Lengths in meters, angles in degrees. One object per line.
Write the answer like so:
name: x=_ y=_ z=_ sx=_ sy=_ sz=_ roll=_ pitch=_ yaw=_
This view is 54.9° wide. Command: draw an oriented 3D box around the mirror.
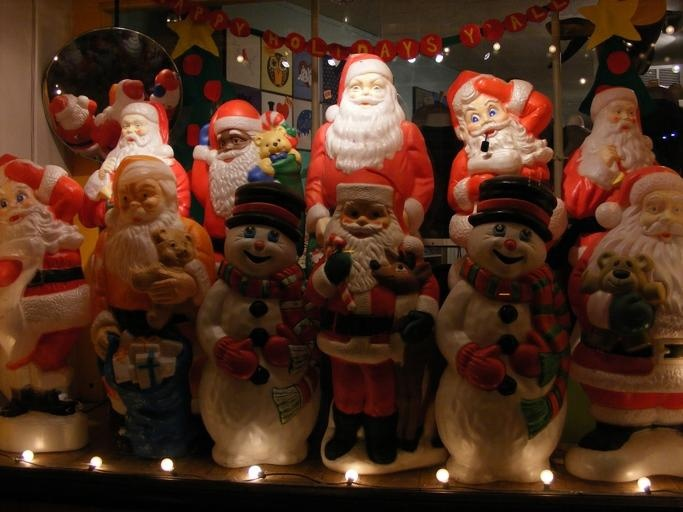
mirror: x=-1.605 y=-1.066 z=4.317 sx=0.830 sy=0.893 sz=0.237 roll=15 pitch=6 yaw=-8

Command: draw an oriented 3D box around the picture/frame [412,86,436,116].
picture/frame: x=0.537 y=-0.990 z=4.230 sx=0.213 sy=0.208 sz=0.023 roll=0 pitch=-7 yaw=-2
